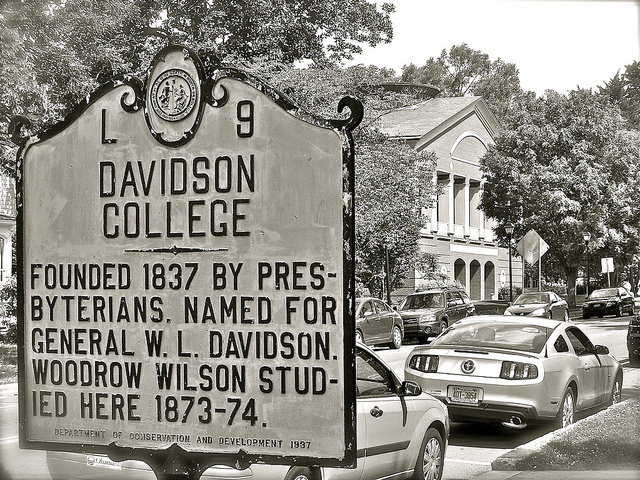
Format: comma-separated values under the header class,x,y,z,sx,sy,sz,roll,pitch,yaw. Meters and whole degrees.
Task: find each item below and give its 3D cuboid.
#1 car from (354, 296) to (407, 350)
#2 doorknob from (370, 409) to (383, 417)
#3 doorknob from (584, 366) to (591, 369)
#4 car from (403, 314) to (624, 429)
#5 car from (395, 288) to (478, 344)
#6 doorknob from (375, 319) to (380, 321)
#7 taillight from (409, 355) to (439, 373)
class,x,y,z,sx,sy,sz,roll,pitch,yaw
car,1.407,2.191,24.321,1.303,1.442,3.037,-5,-11,27
doorknob,0.514,1.607,8.162,0.164,0.069,0.018,8,-9,-41
doorknob,3.513,1.675,11.598,0.066,0.033,0.049,0,-1,-40
car,2.804,1.650,11.552,1.310,1.009,2.670,1,1,33
car,3.620,2.287,28.200,1.600,1.718,3.352,-7,-7,30
doorknob,1.521,2.134,23.755,0.128,0.061,0.047,-3,9,4
taillight,1.324,1.567,11.193,0.254,0.231,0.113,-3,-9,28
